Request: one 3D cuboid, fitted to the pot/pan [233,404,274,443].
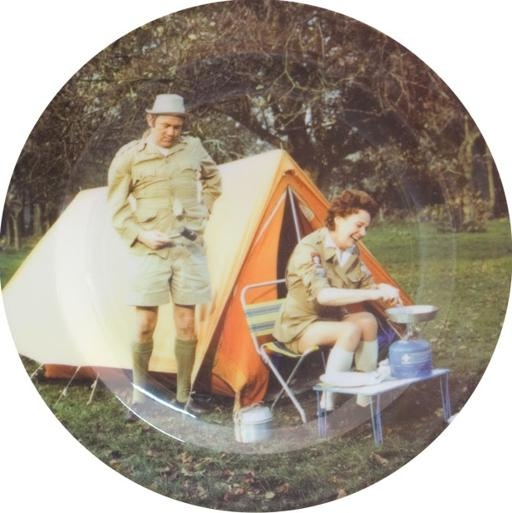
[{"bbox_3d":[-0.014,1.046,3.999,0.190,0.161,0.203,0,0,19],"label":"pot/pan"}]
